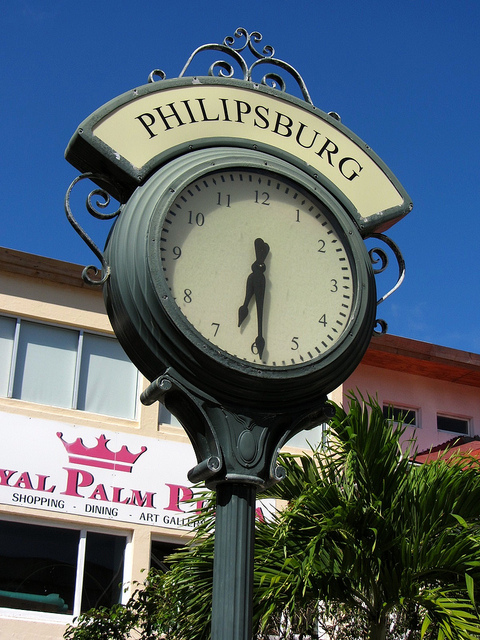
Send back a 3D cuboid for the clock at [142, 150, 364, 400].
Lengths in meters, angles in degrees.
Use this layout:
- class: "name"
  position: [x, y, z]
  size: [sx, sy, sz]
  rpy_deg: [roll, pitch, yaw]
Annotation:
- class: "clock"
  position: [0.019, -0.185, 5.314]
  size: [1.055, 1.015, 0.071]
  rpy_deg: [18, -31, -17]
